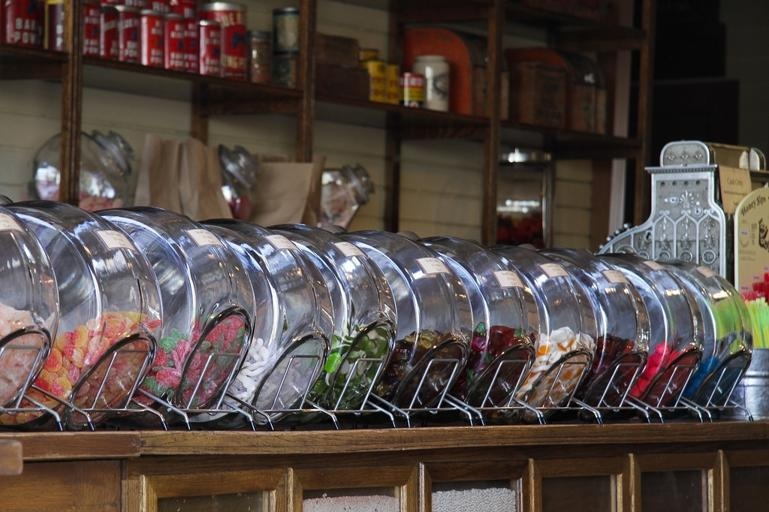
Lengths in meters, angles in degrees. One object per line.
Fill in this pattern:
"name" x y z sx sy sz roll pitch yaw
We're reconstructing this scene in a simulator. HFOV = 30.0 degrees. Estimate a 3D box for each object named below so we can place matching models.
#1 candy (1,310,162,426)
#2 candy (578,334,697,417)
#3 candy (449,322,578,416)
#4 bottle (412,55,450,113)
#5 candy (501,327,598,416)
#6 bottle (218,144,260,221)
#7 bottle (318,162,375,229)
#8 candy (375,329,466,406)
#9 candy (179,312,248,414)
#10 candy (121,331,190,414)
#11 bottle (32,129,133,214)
"candy" -0.629 0.247 3.057 0.293 0.245 0.123 -14 -28 33
"candy" 0.612 0.299 3.610 0.265 0.190 0.091 -19 19 -17
"candy" 0.313 0.281 3.409 0.361 0.219 0.137 2 -2 -32
"bottle" 0.186 -0.688 5.759 0.139 0.225 0.082 1 -2 -7
"candy" 0.388 0.279 3.458 0.077 0.215 0.220 29 -26 19
"bottle" -0.528 -0.260 5.149 0.136 0.255 0.157 1 -2 -8
"bottle" -0.167 -0.245 5.829 0.188 0.183 0.329 18 41 11
"candy" 0.084 0.269 3.340 0.208 0.176 0.087 1 -2 3
"candy" -0.380 0.227 3.162 0.140 0.223 0.094 0 -2 32
"candy" -0.494 0.251 3.147 0.048 0.168 0.142 28 18 31
"bottle" -1.004 -0.296 4.892 0.238 0.290 0.386 -1 -2 45
